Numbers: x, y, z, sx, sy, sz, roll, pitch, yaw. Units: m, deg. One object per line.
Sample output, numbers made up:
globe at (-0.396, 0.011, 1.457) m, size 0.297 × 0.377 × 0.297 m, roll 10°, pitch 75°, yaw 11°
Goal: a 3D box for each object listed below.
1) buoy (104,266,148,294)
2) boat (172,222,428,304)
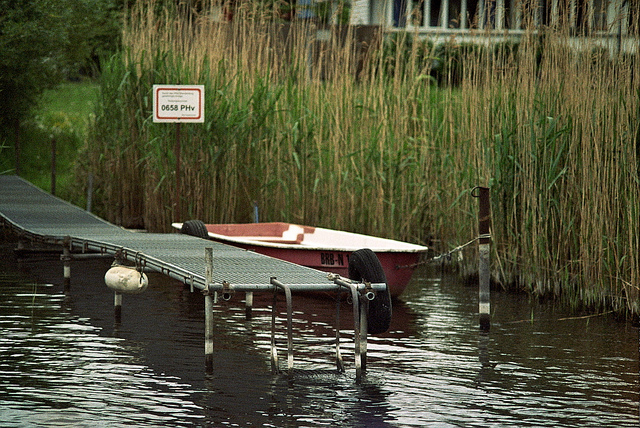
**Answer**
buoy at (-2.572, 0.842, 16.881) m, size 0.606 × 0.387 × 0.298 m, roll 6°, pitch -4°, yaw 34°
boat at (-0.197, 0.649, 19.142) m, size 1.602 × 0.880 × 3.574 m, roll -9°, pitch 16°, yaw -43°
